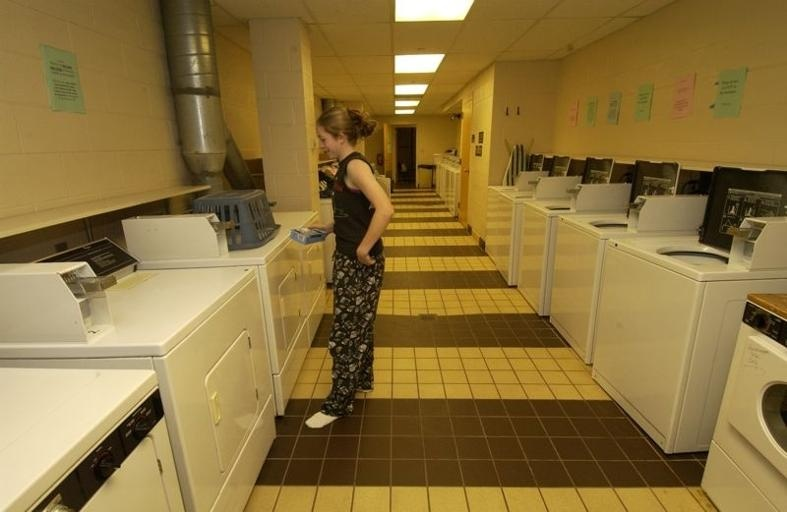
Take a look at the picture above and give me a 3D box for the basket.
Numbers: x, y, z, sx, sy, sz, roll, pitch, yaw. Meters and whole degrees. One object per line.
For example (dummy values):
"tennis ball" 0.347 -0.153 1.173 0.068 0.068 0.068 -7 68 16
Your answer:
"basket" -1.043 -0.265 3.355 0.453 0.263 0.526 1 13 3
